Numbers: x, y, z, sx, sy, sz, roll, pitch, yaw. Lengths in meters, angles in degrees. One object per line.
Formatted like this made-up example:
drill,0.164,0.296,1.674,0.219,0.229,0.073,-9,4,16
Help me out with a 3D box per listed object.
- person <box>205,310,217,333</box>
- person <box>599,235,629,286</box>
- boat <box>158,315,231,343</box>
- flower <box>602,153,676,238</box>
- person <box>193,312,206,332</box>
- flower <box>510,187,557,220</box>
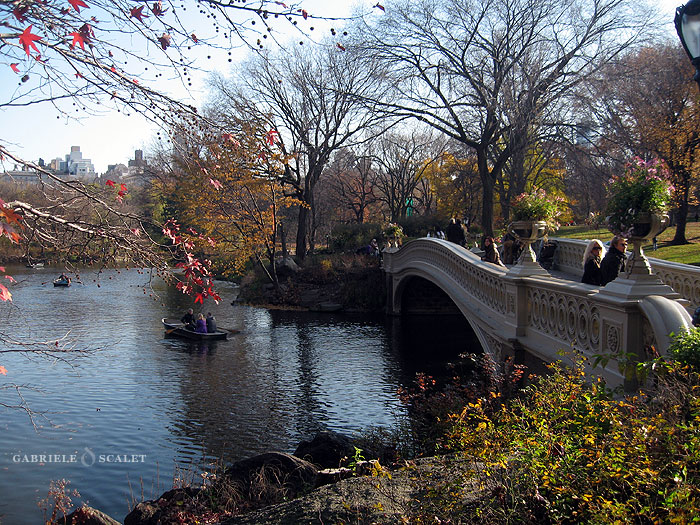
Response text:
person,-5.700,2.479,26.914,0.623,0.933,0.605,-2,15,-11
person,4.182,0.017,10.514,0.402,0.796,2.023,2,6,22
boat,-6.431,2.722,25.989,1.107,0.540,2.868,1,6,-38
flower,3.926,-0.813,9.029,0.803,0.921,0.601,2,6,25
person,-5.829,2.311,25.635,0.446,0.814,1.521,-2,6,-13
flower,3.816,-1.127,13.654,0.882,0.665,0.920,3,9,6
